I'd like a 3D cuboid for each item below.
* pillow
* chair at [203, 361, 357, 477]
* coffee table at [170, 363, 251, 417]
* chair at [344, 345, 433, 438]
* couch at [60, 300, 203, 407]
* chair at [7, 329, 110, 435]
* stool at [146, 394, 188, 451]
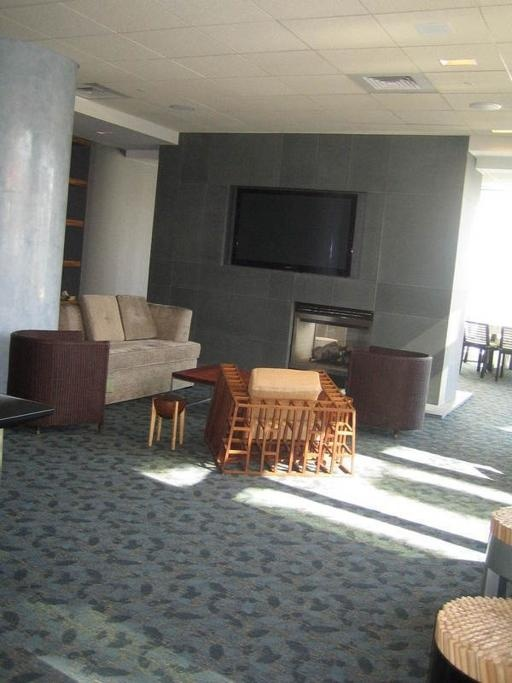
[{"bbox_3d":[-1.724,-0.280,6.309,0.226,0.509,0.996,-14,-5,29],"label":"pillow"},{"bbox_3d":[0.243,0.614,4.218,1.115,0.729,0.796,6,2,-14],"label":"chair"},{"bbox_3d":[-0.564,0.549,5.413,0.629,0.351,0.611,11,14,24],"label":"coffee table"},{"bbox_3d":[1.453,0.548,5.670,0.851,0.889,0.938,-1,7,5],"label":"chair"},{"bbox_3d":[-1.602,0.018,6.145,1.024,1.041,1.713,19,16,36],"label":"couch"},{"bbox_3d":[-1.651,0.352,4.315,0.781,0.546,0.380,5,3,-24],"label":"chair"},{"bbox_3d":[-0.746,0.670,4.342,0.311,0.340,0.286,6,-1,-14],"label":"stool"}]
